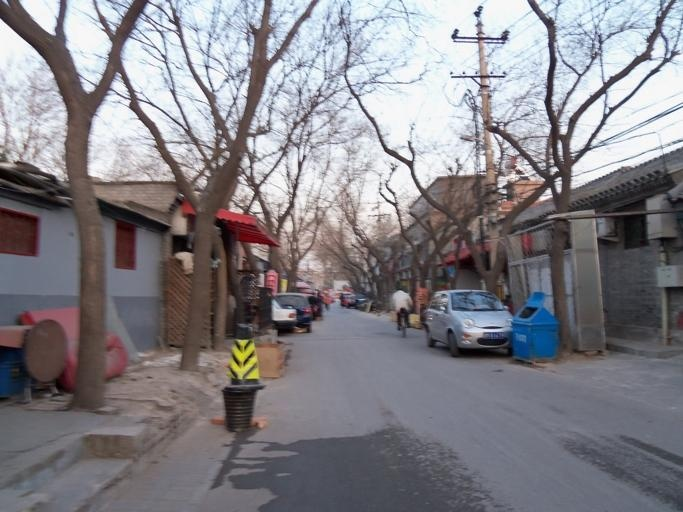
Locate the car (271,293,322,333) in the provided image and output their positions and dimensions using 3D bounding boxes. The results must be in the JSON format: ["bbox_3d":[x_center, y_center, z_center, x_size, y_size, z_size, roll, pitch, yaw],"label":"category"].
[{"bbox_3d":[-2.104,2.605,26.118,1.911,1.422,4.446,0,1,-1],"label":"car"}]

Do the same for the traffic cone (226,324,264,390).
[{"bbox_3d":[-1.527,1.575,9.159,0.609,0.924,0.572,5,3,-1],"label":"traffic cone"}]

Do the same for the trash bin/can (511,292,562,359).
[{"bbox_3d":[4.856,1.775,14.379,0.931,1.638,1.188,0,5,-4],"label":"trash bin/can"}]

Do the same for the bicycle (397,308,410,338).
[{"bbox_3d":[2.393,2.586,22.520,0.351,1.085,1.050,1,4,5],"label":"bicycle"}]
